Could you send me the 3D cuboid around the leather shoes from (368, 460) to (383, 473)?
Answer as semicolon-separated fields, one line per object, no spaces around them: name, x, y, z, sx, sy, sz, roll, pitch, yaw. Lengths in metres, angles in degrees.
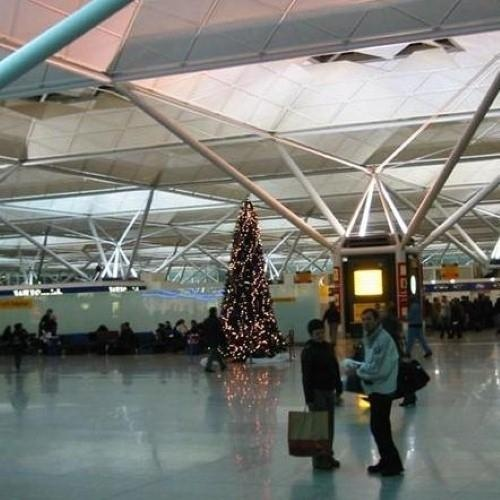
leather shoes;1.215;2.117;4.570;0.133;0.108;0.074;-3;-9;12

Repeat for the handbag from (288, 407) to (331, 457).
handbag;0.573;1.806;4.579;0.392;0.431;0.191;-2;-9;8

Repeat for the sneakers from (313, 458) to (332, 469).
sneakers;0.742;2.211;4.852;0.177;0.104;0.075;-2;-9;9

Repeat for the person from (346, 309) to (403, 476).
person;1.300;1.392;4.728;0.417;1.592;0.423;-10;-13;44
